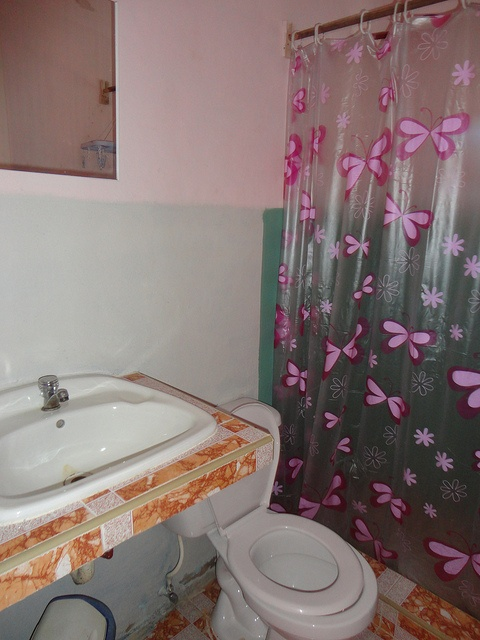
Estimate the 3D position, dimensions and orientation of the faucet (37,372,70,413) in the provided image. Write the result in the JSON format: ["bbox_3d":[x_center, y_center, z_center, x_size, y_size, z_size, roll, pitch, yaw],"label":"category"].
[{"bbox_3d":[-0.444,0.176,1.081,0.050,0.089,0.086,1,14,2],"label":"faucet"}]
